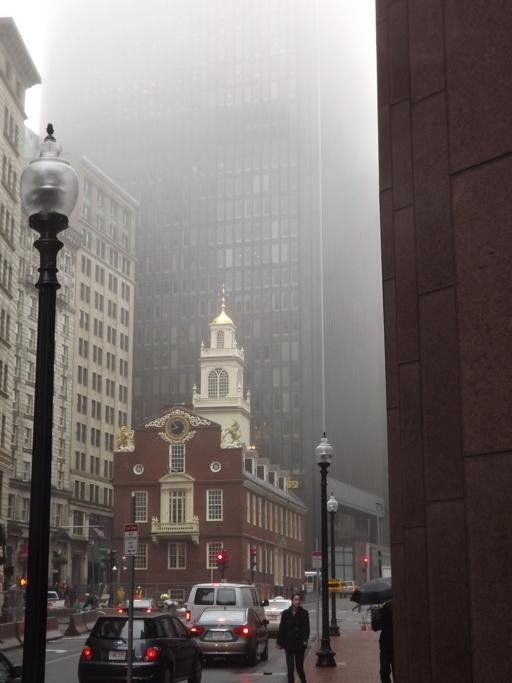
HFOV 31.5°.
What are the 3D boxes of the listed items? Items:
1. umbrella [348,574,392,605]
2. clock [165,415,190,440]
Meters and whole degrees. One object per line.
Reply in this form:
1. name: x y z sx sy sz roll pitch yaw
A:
1. umbrella: 2.086 4.514 16.399 0.667 0.483 1.815 -3 -17 6
2. clock: -6.478 7.267 75.108 2.007 2.196 0.601 -7 -15 19
